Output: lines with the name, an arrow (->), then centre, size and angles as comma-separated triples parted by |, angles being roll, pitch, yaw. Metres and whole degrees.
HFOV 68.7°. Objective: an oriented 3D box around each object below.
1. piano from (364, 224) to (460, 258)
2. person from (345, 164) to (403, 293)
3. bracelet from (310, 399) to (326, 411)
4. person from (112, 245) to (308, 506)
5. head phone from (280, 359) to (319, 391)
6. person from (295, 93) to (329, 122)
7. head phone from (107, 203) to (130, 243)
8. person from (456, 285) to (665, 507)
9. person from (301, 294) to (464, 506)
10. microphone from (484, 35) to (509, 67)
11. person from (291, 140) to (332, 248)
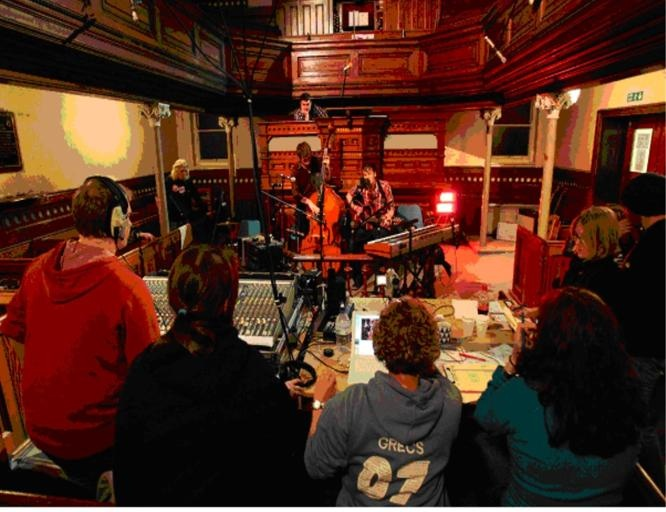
piano -> 1.098, -0.240, 6.808 | 0.505, 0.441, 1.909 | 8, 14, 38
person -> 0.759, -0.500, 8.485 | 0.285, 2.033, 0.951 | -13, -9, -32
bracelet -> -0.103, 0.942, 3.126 | 0.092, 0.046, 0.084 | 1, 22, 1
person -> -0.649, 0.676, 2.437 | 0.883, 1.411, 0.424 | -6, 11, -26
head phone -> -0.258, 0.828, 3.471 | 0.199, 0.085, 0.203 | 16, 7, 36
person -> -0.485, -2.984, 9.714 | 0.648, 0.447, 1.657 | 1, 11, 5
head phone -> -1.310, -0.206, 2.989 | 0.059, 0.177, 0.121 | 4, 2, -5
person -> 1.274, 0.856, 2.735 | 0.842, 1.339, 0.322 | 3, 11, 17
person -> 0.276, 0.870, 2.790 | 0.875, 1.194, 0.418 | 2, 11, 13
microphone -> 2.495, -3.207, 7.508 | 0.129, 0.836, 0.138 | -21, -18, 21
person -> -0.524, -1.146, 9.017 | 0.751, 1.833, 0.583 | -2, -9, 32
